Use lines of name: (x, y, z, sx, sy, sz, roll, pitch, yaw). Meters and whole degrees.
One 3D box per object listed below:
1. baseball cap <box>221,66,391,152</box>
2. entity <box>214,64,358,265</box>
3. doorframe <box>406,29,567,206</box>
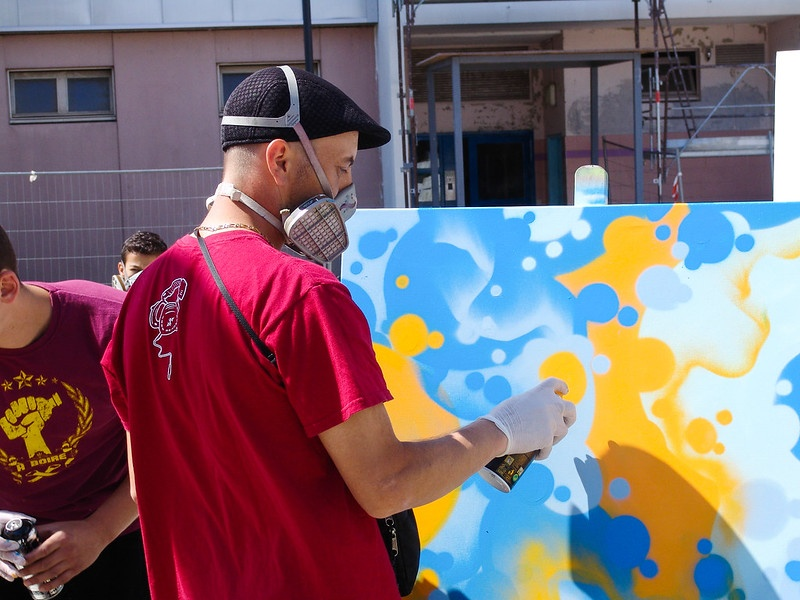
baseball cap: (-0.371, -0.669, 3.514, 0.432, 0.254, 0.306, -4, 7, -16)
entity: (-0.417, -0.479, 3.670, 0.467, 0.731, 0.500, -3, 1, -6)
doorframe: (1.198, -2.574, 12.491, 2.028, 2.536, 2.299, -2, 3, -8)
